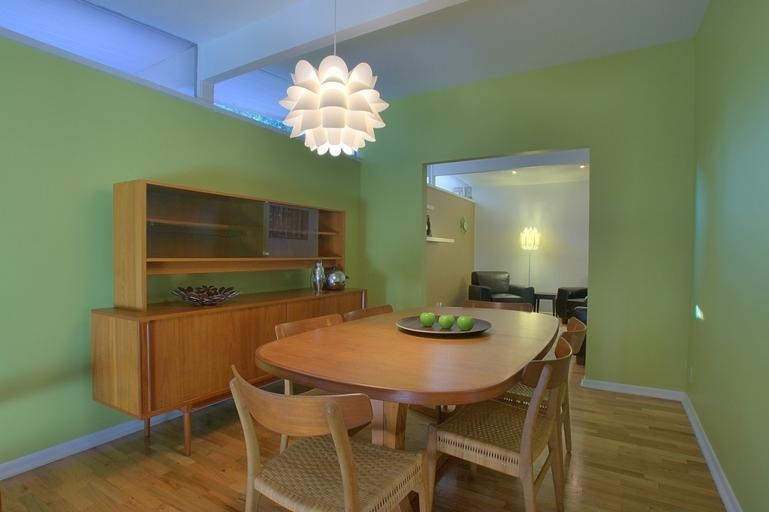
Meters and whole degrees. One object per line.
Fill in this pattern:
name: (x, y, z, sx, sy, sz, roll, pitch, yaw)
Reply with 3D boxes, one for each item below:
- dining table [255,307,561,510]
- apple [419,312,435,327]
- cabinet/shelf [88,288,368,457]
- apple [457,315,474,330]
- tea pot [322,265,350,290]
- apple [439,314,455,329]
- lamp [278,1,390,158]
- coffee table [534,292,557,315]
dining table: (0.136, 1.160, 3.470, 1.008, 0.356, 1.582, 1, 3, 31)
apple: (0.345, 0.506, 4.160, 0.105, 0.101, 0.106, -1, 5, 20)
cabinet/shelf: (-1.342, 0.945, 4.077, 0.368, 0.628, 1.401, 3, 3, 39)
apple: (0.621, 0.508, 3.972, 0.109, 0.107, 0.113, -3, 2, 26)
tea pot: (-0.569, 0.261, 5.905, 0.285, 0.217, 0.221, 3, 0, 34)
apple: (0.494, 0.514, 4.094, 0.108, 0.104, 0.105, -7, 7, -5)
lamp: (-0.369, -1.182, 3.817, 0.792, 1.235, 0.797, 3, 5, 35)
coffee table: (2.942, 0.858, 9.466, 0.458, 0.458, 0.454, -1, -4, 18)
